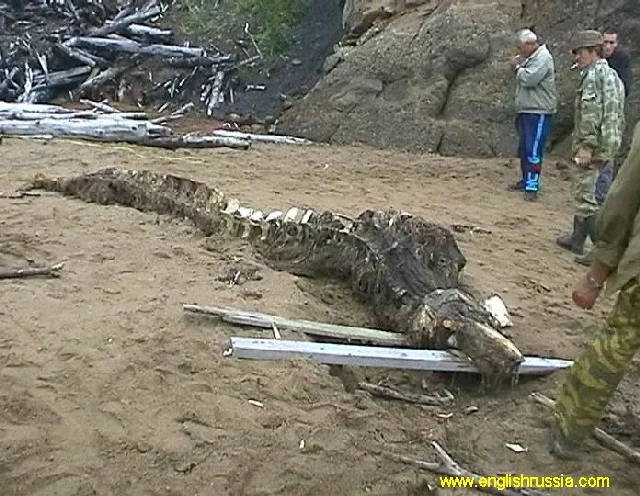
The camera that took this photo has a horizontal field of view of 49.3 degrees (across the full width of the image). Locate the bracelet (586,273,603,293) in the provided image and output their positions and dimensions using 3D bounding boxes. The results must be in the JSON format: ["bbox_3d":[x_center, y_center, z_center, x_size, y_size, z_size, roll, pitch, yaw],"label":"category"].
[{"bbox_3d":[2.404,0.322,6.186,0.128,0.184,0.131,-14,-6,-6],"label":"bracelet"}]

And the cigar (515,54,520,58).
[{"bbox_3d":[3.747,-3.627,13.217,0.050,0.058,0.378,14,17,22],"label":"cigar"}]

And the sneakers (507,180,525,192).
[{"bbox_3d":[3.200,-0.994,11.401,0.266,0.135,0.126,8,18,30],"label":"sneakers"}]

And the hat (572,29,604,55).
[{"bbox_3d":[3.581,-2.728,9.280,0.320,0.194,0.325,2,24,16],"label":"hat"}]
